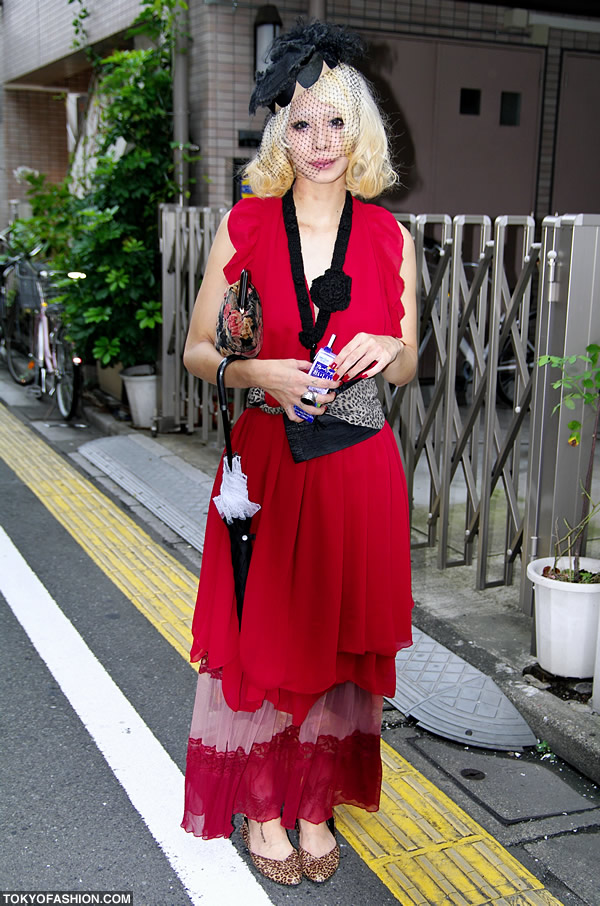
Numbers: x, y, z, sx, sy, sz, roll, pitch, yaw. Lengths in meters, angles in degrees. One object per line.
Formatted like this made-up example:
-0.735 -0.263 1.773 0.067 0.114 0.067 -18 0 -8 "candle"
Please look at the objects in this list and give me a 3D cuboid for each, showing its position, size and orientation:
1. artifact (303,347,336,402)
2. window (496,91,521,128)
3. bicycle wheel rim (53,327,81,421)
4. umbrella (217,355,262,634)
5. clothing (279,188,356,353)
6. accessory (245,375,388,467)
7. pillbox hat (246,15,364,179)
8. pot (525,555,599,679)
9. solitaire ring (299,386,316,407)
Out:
0.031 -0.138 1.295 0.058 0.105 0.061 -1 8 0 "artifact"
2.379 -3.933 8.156 0.388 0.539 0.053 -4 9 -23 "window"
-2.370 -0.835 7.210 0.225 0.533 1.054 2 50 -28 "bicycle wheel rim"
-0.139 0.079 1.491 0.091 0.560 0.216 -2 8 -11 "umbrella"
0.031 -0.361 1.423 0.145 0.340 0.209 0 8 4 "clothing"
0.059 -0.080 1.481 0.218 0.089 0.170 -9 11 -18 "accessory"
-0.008 -0.725 1.440 0.159 0.206 0.093 11 -17 -4 "pillbox hat"
0.876 0.567 2.601 0.353 0.408 0.375 -3 7 0 "pot"
0.016 -0.100 1.279 0.019 0.013 0.032 4 48 1 "solitaire ring"
